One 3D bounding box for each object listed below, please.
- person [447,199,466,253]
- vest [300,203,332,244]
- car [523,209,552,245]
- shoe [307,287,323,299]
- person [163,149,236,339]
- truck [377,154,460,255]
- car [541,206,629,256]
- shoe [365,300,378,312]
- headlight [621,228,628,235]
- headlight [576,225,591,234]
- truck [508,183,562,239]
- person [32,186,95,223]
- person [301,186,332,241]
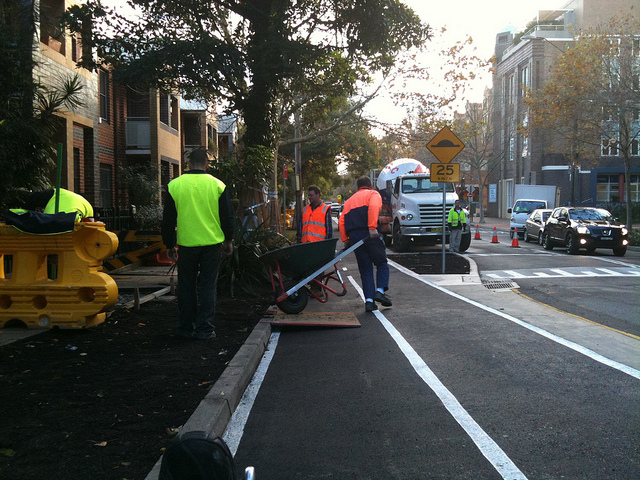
[{"bbox_3d":[5.100,-0.536,21.092,0.590,1.969,1.205,3,6,29],"label":"person"},{"bbox_3d":[-0.106,-0.340,10.863,0.634,0.781,0.443,2,6,17],"label":"vest"},{"bbox_3d":[10.289,-0.732,26.728,1.002,0.995,1.841,0,0,-7],"label":"car"},{"bbox_3d":[-0.058,1.042,11.377,0.217,0.076,0.206,6,27,-50],"label":"shoe"},{"bbox_3d":[-1.642,0.037,7.551,0.922,2.539,0.539,-1,5,-14],"label":"person"},{"bbox_3d":[4.468,-1.584,22.093,2.267,3.486,6.233,0,0,-5],"label":"truck"},{"bbox_3d":[10.454,-0.395,22.430,2.350,1.794,4.048,2,6,12],"label":"car"},{"bbox_3d":[0.908,1.151,9.960,0.225,0.177,0.288,1,6,4],"label":"shoe"},{"bbox_3d":[11.116,-0.353,20.426,0.134,0.229,0.467,6,8,43],"label":"headlight"},{"bbox_3d":[9.777,-0.414,20.764,0.742,0.494,0.237,6,-3,-41],"label":"headlight"},{"bbox_3d":[12.646,-1.881,33.287,2.484,2.963,5.035,2,1,23],"label":"truck"},{"bbox_3d":[-3.704,-0.522,7.923,0.813,0.472,1.041,-1,6,-12],"label":"person"},{"bbox_3d":[-0.046,-0.518,10.911,0.474,1.085,0.704,-3,6,-31],"label":"person"}]
